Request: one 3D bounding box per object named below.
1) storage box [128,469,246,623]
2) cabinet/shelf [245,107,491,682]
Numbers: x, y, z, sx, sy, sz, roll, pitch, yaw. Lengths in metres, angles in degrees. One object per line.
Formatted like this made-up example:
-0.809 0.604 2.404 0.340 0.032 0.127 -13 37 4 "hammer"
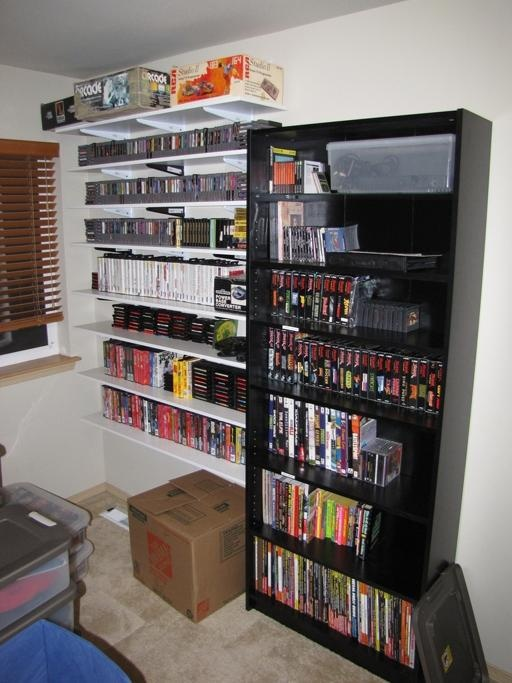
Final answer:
-0.289 0.982 2.554 0.522 0.469 0.533 9 13 31 "storage box"
0.390 0.260 1.998 0.982 2.101 0.521 8 12 44 "cabinet/shelf"
